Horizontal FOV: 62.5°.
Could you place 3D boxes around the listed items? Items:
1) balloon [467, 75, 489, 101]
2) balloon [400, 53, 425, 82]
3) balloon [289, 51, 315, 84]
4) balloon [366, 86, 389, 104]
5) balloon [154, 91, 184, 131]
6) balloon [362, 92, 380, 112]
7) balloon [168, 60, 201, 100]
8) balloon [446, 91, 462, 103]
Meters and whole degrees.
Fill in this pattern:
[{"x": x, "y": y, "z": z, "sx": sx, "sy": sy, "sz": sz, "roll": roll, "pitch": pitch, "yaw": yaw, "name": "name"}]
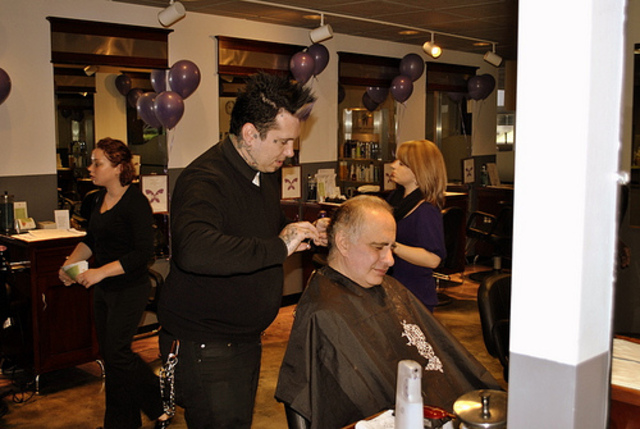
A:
[{"x": 2.209, "y": -1.768, "z": 7.446, "sx": 0.216, "sy": 0.304, "sz": 0.272, "roll": 4, "pitch": 36, "yaw": -7, "name": "balloon"}, {"x": 1.146, "y": -1.863, "z": 6.626, "sx": 0.371, "sy": 0.363, "sz": 0.374, "roll": -11, "pitch": 15, "yaw": -32, "name": "balloon"}, {"x": -0.166, "y": -1.513, "z": 5.543, "sx": 0.250, "sy": 0.401, "sz": 0.249, "roll": -7, "pitch": 5, "yaw": -36, "name": "balloon"}, {"x": 0.750, "y": -1.541, "z": 6.741, "sx": 0.191, "sy": 0.247, "sz": 0.196, "roll": -15, "pitch": 2, "yaw": -20, "name": "balloon"}, {"x": -1.452, "y": -0.970, "z": 4.988, "sx": 0.254, "sy": 0.327, "sz": 0.261, "roll": 21, "pitch": 2, "yaw": -12, "name": "balloon"}, {"x": 0.653, "y": -1.448, "z": 6.831, "sx": 0.199, "sy": 0.249, "sz": 0.208, "roll": -17, "pitch": 46, "yaw": -41, "name": "balloon"}, {"x": -1.185, "y": -1.259, "z": 4.917, "sx": 0.294, "sy": 0.402, "sz": 0.320, "roll": 2, "pitch": 21, "yaw": -6, "name": "balloon"}, {"x": 1.924, "y": -1.678, "z": 7.557, "sx": 0.265, "sy": 0.127, "sz": 0.085, "roll": -4, "pitch": 6, "yaw": -32, "name": "balloon"}]
